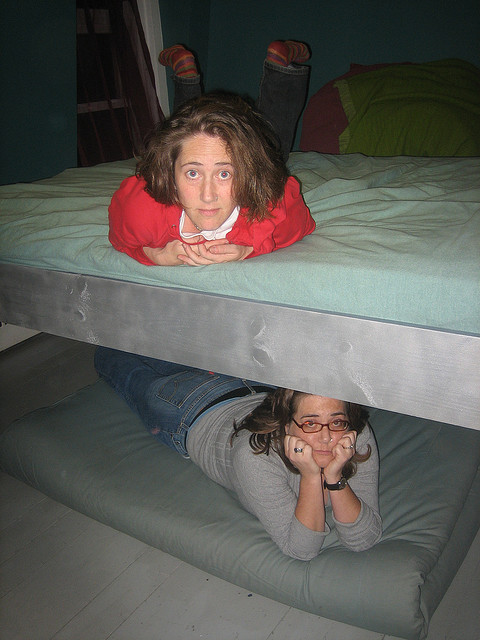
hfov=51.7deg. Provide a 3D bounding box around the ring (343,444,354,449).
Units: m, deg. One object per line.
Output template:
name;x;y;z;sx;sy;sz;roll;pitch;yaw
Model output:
ring;0.241;0.280;1.097;0.013;0.003;0.012;-3;12;1

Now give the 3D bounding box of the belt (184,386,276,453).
belt;-0.014;0.255;1.417;0.240;0.057;0.174;-28;49;-27

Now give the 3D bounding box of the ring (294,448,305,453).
ring;0.133;0.286;1.092;0.012;0.007;0.015;3;7;19
